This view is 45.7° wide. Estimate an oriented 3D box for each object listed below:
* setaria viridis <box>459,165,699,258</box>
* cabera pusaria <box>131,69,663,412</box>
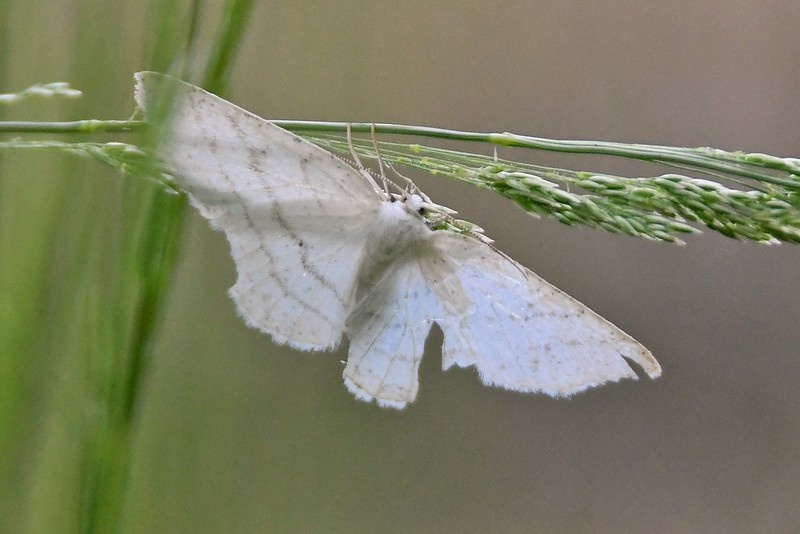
[{"bbox_3d":[0.285,-0.098,1.437,0.371,0.066,0.076,16,-4,2],"label":"setaria viridis"},{"bbox_3d":[-0.004,-0.002,1.561,0.752,0.461,0.289,1,-18,-14],"label":"cabera pusaria"}]
